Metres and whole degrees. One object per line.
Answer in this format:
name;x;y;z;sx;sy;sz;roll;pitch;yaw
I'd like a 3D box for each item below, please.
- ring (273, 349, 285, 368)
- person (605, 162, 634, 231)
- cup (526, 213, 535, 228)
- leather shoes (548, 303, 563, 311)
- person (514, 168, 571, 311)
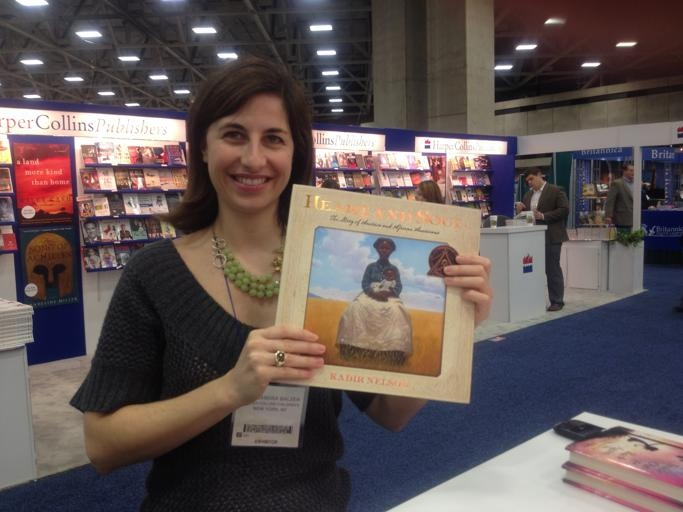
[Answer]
ring;-0.148;0.247;1.213;0.024;0.040;0.035;-1;-8;-13
person;4.509;-0.959;8.100;0.398;1.050;0.921;2;7;30
cup;2.391;-0.475;6.324;0.094;0.162;0.221;0;6;18
leather shoes;2.828;0.661;6.592;0.229;0.095;0.078;-2;1;-39
person;2.768;-0.260;6.806;0.571;1.886;0.922;0;6;21
